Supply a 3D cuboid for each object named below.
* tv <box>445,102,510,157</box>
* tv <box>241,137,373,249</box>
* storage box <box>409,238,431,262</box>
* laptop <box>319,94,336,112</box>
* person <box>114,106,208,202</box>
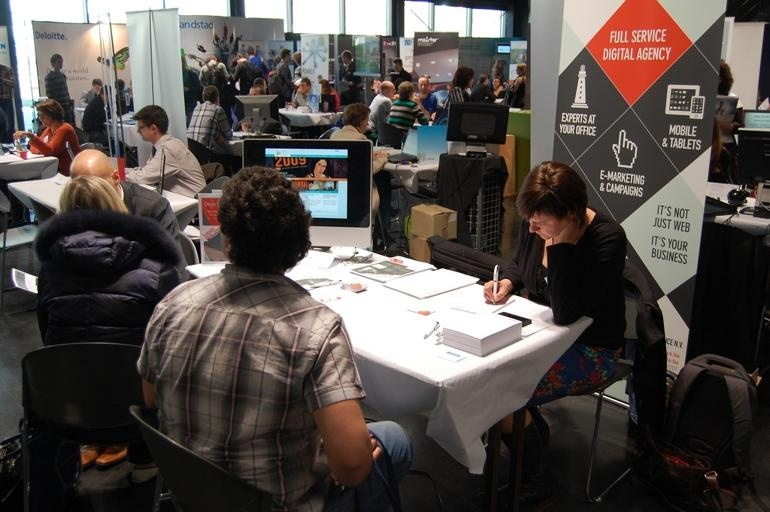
[{"bbox_3d":[0.852,-1.228,5.316,0.756,0.661,0.397,5,17,16],"label":"tv"},{"bbox_3d":[-0.360,-0.331,2.615,0.588,0.523,0.195,1,9,3],"label":"tv"},{"bbox_3d":[0.286,-0.050,4.419,0.060,0.176,0.183,-5,5,-24],"label":"storage box"},{"bbox_3d":[-0.981,-2.627,9.439,0.259,0.342,0.350,3,10,9],"label":"laptop"},{"bbox_3d":[-2.108,-0.775,5.211,0.769,1.249,0.523,-13,30,-34],"label":"person"}]
